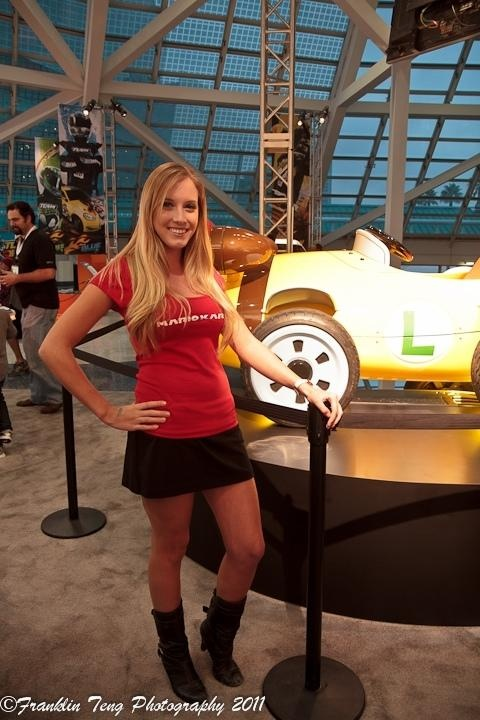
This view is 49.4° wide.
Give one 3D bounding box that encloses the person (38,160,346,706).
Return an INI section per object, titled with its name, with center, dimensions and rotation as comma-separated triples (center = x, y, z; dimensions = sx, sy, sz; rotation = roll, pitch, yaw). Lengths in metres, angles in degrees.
[person]
center = -0.125, 0.249, 1.401
dimensions = 0.720, 1.513, 0.299
rotation = -4, 9, -17

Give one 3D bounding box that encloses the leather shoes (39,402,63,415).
[leather shoes]
center = -1.753, 0.444, 4.913
dimensions = 0.101, 0.079, 0.197
rotation = 0, -10, 8
